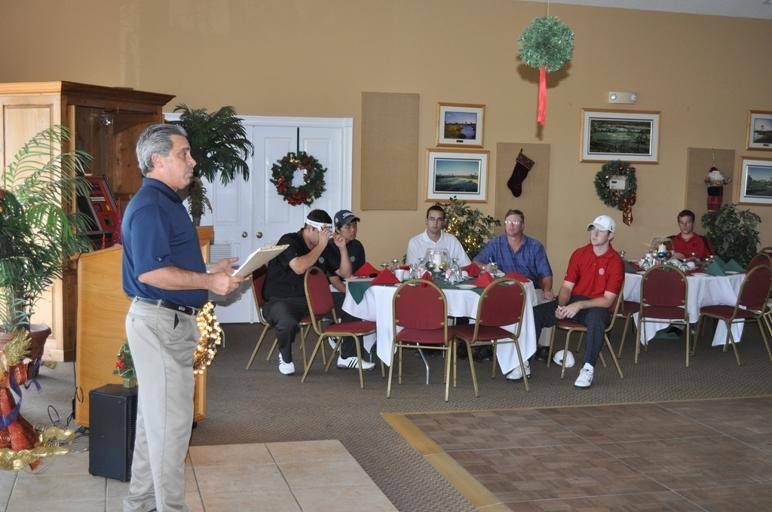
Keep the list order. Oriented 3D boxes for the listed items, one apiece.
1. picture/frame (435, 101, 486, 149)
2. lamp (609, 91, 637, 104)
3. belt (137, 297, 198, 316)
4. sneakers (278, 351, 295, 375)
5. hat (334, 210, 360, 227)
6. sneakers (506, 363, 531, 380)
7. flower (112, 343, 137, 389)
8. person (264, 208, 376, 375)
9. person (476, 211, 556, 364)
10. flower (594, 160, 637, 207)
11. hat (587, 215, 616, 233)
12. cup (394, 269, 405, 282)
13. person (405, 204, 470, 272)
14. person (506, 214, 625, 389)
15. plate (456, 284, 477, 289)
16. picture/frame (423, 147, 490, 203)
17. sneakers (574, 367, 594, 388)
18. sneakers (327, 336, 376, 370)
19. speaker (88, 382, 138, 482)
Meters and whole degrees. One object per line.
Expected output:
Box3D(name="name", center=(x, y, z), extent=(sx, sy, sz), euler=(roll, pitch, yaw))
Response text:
Box3D(name="picture/frame", center=(1.084, -1.999, 9.216), extent=(0.704, 0.633, 0.051), euler=(0, 2, -12))
Box3D(name="lamp", center=(3.766, -2.505, 9.635), extent=(0.528, 0.194, 0.095), euler=(-1, 9, -14))
Box3D(name="belt", center=(-1.257, 0.279, 3.459), extent=(0.169, 0.044, 0.159), euler=(16, 3, 20))
Box3D(name="sneakers", center=(-1.069, 1.118, 6.453), extent=(0.172, 0.208, 0.312), euler=(-1, 9, -12))
Box3D(name="hat", center=(-0.489, -0.440, 6.869), extent=(0.182, 0.157, 0.256), euler=(-6, -6, -37))
Box3D(name="sneakers", center=(1.396, 1.213, 6.341), extent=(0.300, 0.143, 0.117), euler=(4, -5, -43))
Box3D(name="flower", center=(-1.761, 0.721, 4.137), extent=(0.159, 0.325, 0.181), euler=(0, 15, -5))
Box3D(name="person", center=(-0.816, 0.370, 6.455), extent=(0.992, 1.721, 0.750), euler=(-1, 9, -13))
Box3D(name="person", center=(1.467, 0.104, 7.036), extent=(0.840, 1.189, 0.674), euler=(-7, 16, 3))
Box3D(name="flower", center=(3.729, -1.215, 9.658), extent=(0.705, 0.210, 0.785), euler=(0, -38, 42))
Box3D(name="hat", center=(2.324, -0.334, 6.507), extent=(0.295, 0.170, 0.211), euler=(6, 1, -21))
Box3D(name="cup", center=(0.146, 0.206, 6.333), extent=(0.102, 0.111, 0.195), euler=(0, 6, 2))
Box3D(name="person", center=(0.615, -0.181, 7.409), extent=(0.901, 0.863, 0.585), euler=(-3, -3, -14))
Box3D(name="person", center=(2.096, 0.408, 6.373), extent=(0.595, 1.601, 0.809), euler=(7, 11, 32))
Box3D(name="plate", center=(0.792, 0.301, 6.053), extent=(0.161, 0.030, 0.223), euler=(-2, 9, -20))
Box3D(name="picture/frame", center=(1.014, -1.250, 9.258), extent=(0.872, 0.718, 0.035), euler=(0, 4, -4))
Box3D(name="sneakers", center=(1.971, 1.213, 6.076), extent=(0.164, 0.197, 0.112), euler=(3, 9, 10))
Box3D(name="sneakers", center=(-0.382, 1.075, 6.571), extent=(0.665, 0.304, 0.232), euler=(0, 0, 4))
Box3D(name="speaker", center=(-1.857, 1.206, 4.232), extent=(0.381, 0.621, 0.386), euler=(1, 2, -4))
